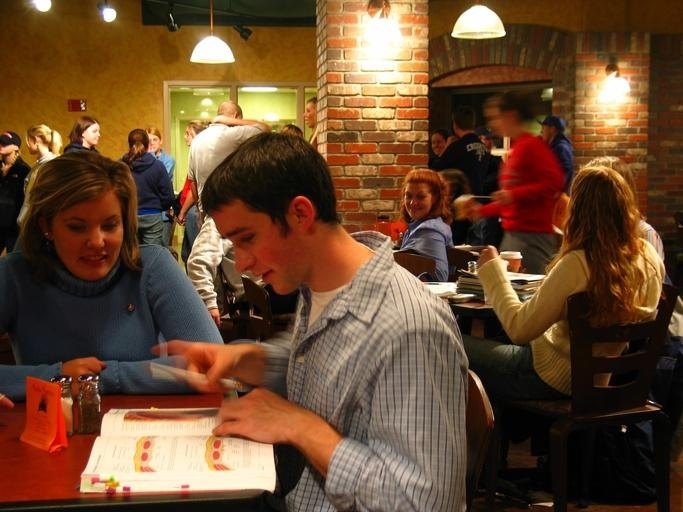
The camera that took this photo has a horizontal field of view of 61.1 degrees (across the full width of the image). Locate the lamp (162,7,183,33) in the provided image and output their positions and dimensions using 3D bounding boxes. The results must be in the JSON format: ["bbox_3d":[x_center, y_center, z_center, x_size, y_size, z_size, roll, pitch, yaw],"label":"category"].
[{"bbox_3d":[-2.676,-3.800,9.270,0.208,0.374,0.413,-2,8,-16],"label":"lamp"}]

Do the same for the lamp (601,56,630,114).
[{"bbox_3d":[3.507,-2.327,7.535,0.331,0.574,0.320,-30,30,-32],"label":"lamp"}]

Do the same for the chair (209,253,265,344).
[{"bbox_3d":[-0.684,0.314,3.941,0.438,0.485,0.290,10,-10,21],"label":"chair"}]

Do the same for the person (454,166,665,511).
[{"bbox_3d":[0.918,0.374,2.655,0.704,1.486,0.990,6,4,-33],"label":"person"}]

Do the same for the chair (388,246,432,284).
[{"bbox_3d":[0.468,0.025,3.671,0.204,0.321,0.219,7,22,22],"label":"chair"}]

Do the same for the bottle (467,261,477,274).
[{"bbox_3d":[0.741,0.060,3.272,0.080,0.083,0.081,0,-3,1],"label":"bottle"}]

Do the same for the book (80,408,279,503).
[{"bbox_3d":[-0.401,0.446,1.396,0.406,0.066,0.479,7,1,-13],"label":"book"}]

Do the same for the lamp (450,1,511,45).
[{"bbox_3d":[1.258,-2.179,5.323,0.439,0.288,0.429,2,8,11],"label":"lamp"}]
